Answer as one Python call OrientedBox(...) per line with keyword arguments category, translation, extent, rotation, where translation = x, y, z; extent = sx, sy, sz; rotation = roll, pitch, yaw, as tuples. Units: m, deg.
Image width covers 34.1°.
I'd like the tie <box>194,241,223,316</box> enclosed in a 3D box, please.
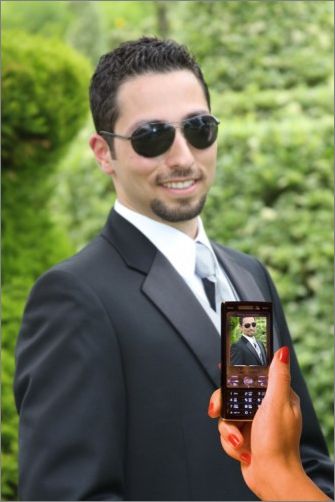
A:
OrientedBox(category="tie", translation=(0.126, 0.085, 1.771), extent=(0.074, 0.064, 0.234), rotation=(-11, 94, -17))
